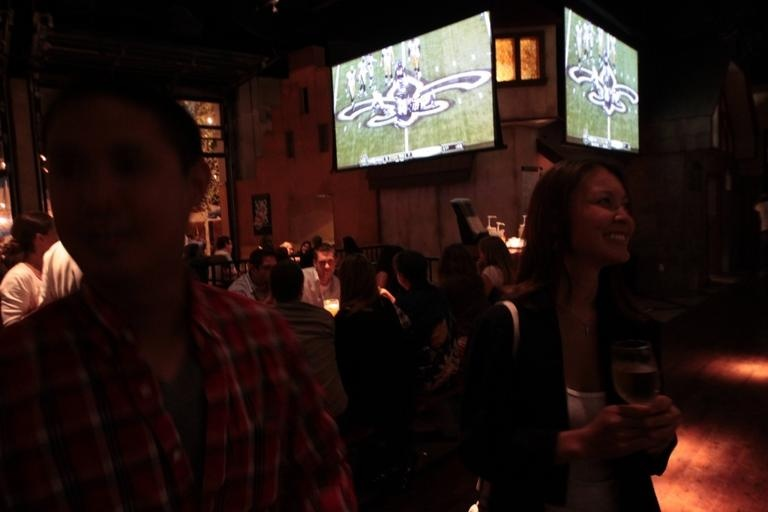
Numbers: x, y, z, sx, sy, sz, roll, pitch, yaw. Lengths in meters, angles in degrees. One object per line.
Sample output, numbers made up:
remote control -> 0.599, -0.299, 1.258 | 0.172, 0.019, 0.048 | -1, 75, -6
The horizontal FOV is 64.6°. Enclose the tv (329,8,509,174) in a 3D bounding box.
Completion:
tv -> 0.573, -2.453, 9.242 | 0.283, 2.070, 2.835 | -5, 10, -44
